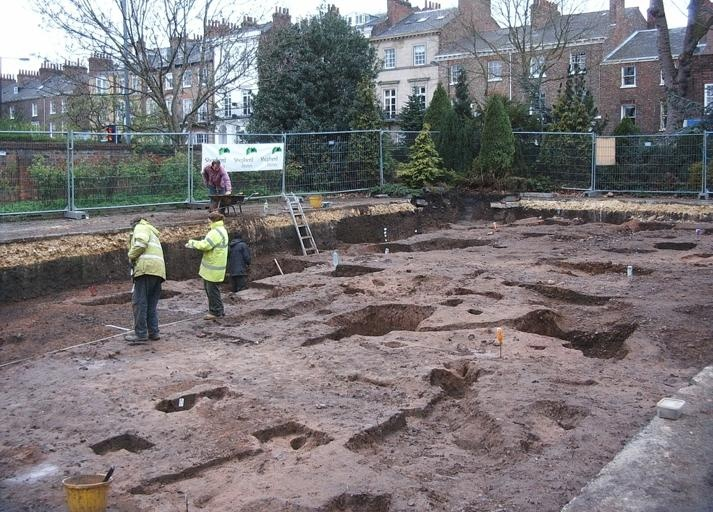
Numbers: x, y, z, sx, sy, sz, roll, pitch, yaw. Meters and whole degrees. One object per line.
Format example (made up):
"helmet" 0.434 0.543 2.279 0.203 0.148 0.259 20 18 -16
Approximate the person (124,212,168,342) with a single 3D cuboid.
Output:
"person" -3.588 0.407 10.898 0.539 2.015 0.821 -1 10 21

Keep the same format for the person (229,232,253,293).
"person" -2.629 0.132 14.446 0.476 1.314 0.553 -7 9 -12

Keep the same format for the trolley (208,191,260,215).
"trolley" -3.428 -1.418 17.665 0.631 0.553 1.369 -1 -4 24

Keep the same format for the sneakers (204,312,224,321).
"sneakers" -2.634 1.115 11.967 0.356 0.168 0.146 5 -1 -7

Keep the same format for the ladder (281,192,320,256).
"ladder" -1.595 -0.938 18.925 0.795 1.635 3.028 -6 9 -6

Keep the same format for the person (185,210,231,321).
"person" -2.790 0.157 12.151 0.876 1.964 0.903 -1 -3 5

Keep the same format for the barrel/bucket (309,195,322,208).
"barrel/bucket" -1.297 -1.671 20.005 0.358 0.364 0.366 0 2 0
